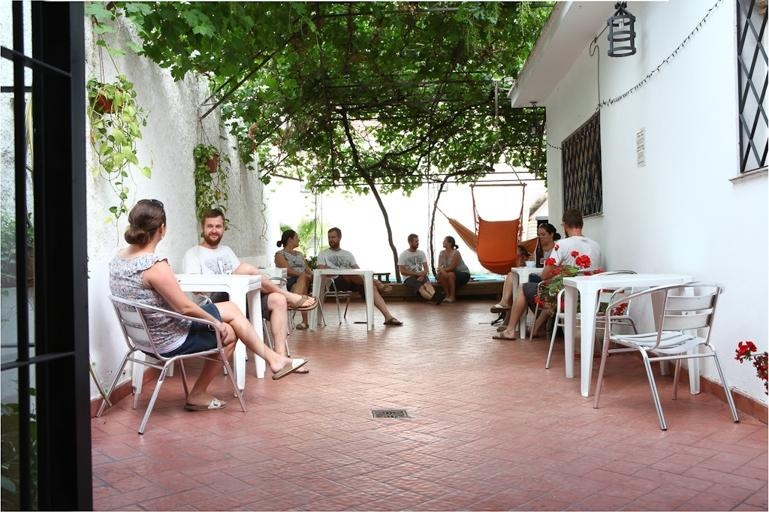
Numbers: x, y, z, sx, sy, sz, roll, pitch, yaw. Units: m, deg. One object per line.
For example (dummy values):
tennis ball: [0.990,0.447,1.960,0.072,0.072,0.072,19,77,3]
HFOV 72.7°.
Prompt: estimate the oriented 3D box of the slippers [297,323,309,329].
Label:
slippers: [-1.273,1.071,8.044,0.212,0.075,0.082,9,-13,-31]

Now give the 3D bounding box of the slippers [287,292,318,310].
slippers: [-0.880,0.470,5.448,0.286,0.062,0.150,1,10,25]

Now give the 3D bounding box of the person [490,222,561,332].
person: [2.010,0.285,7.165,0.927,1.476,0.489,-12,24,2]

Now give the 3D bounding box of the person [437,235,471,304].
person: [1.475,0.262,11.363,0.691,1.436,0.562,-1,1,5]

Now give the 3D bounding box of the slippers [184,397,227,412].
slippers: [-1.362,1.128,3.985,0.233,0.063,0.119,-2,-4,-2]

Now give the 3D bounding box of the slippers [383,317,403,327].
slippers: [0.128,1.013,8.144,0.299,0.108,0.305,-1,0,5]

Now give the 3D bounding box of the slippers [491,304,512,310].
slippers: [1.523,0.665,6.975,0.290,0.066,0.102,-3,-39,-31]

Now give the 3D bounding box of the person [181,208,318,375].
person: [-1.301,0.297,5.209,1.339,1.447,0.587,5,14,9]

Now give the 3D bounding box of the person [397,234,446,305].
person: [0.798,0.276,11.295,0.657,1.144,1.493,-11,27,-17]

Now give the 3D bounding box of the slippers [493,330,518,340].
slippers: [1.551,1.010,6.767,0.234,0.088,0.128,1,-2,5]

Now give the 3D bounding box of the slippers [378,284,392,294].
slippers: [0.015,0.652,10.383,0.179,0.107,0.236,2,-3,16]

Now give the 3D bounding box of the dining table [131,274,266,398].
dining table: [-1.541,0.612,4.584,1.212,1.088,0.954,2,-7,-20]

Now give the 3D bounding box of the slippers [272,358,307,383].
slippers: [-0.758,0.927,4.344,0.158,0.113,0.432,-1,-1,22]

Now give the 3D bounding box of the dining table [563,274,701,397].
dining table: [1.941,0.576,4.522,1.191,1.091,0.939,0,-2,-16]

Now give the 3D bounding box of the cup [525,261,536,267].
cup: [2.126,0.106,7.648,0.125,0.089,0.124,1,-7,0]

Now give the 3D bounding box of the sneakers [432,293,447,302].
sneakers: [1.134,0.872,11.056,0.213,0.233,0.194,-2,1,-17]

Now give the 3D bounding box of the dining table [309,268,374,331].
dining table: [-0.656,0.679,8.214,0.967,0.913,0.950,0,-4,-3]

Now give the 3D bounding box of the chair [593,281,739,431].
chair: [2.096,0.641,3.984,0.916,1.201,1.021,-2,3,-15]
